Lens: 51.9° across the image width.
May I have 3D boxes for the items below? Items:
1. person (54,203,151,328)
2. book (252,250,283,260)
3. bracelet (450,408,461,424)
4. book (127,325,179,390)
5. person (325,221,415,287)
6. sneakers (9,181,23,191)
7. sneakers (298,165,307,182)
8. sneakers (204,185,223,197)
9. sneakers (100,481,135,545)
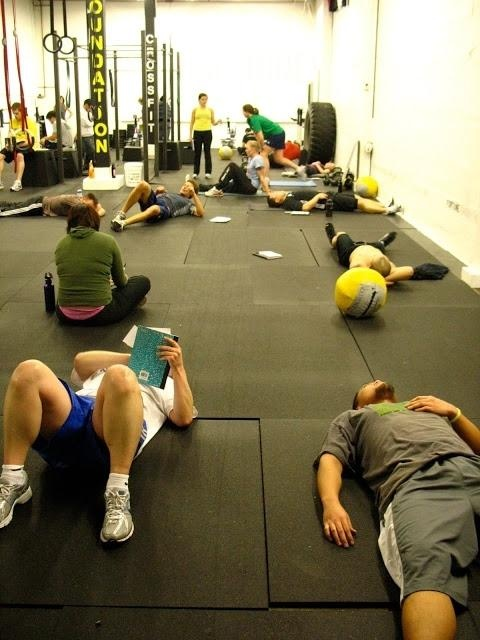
[{"bbox_3d":[-0.989,-0.432,3.619,0.728,0.849,0.594,-6,10,-34],"label":"person"},{"bbox_3d":[0.301,-0.722,5.417,0.320,0.034,0.319,0,23,0],"label":"book"},{"bbox_3d":[0.803,0.356,1.838,0.013,0.047,0.044,32,-37,-33],"label":"bracelet"},{"bbox_3d":[-0.327,0.134,1.854,0.198,0.212,0.055,13,7,23],"label":"book"},{"bbox_3d":[1.110,-0.611,4.710,0.415,0.280,0.875,13,32,-35],"label":"person"},{"bbox_3d":[-4.137,-2.478,9.109,0.124,0.151,0.330,7,17,-12],"label":"sneakers"},{"bbox_3d":[1.475,-3.472,11.748,0.248,0.149,0.347,4,54,4],"label":"sneakers"},{"bbox_3d":[-0.479,-2.395,9.168,0.378,0.189,0.163,3,17,-5],"label":"sneakers"},{"bbox_3d":[-0.381,0.614,1.552,0.071,0.087,0.188,0,2,-4],"label":"sneakers"}]
